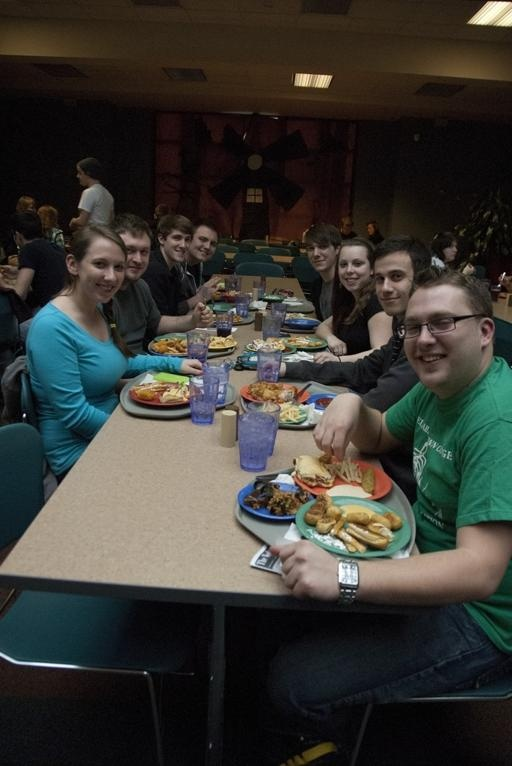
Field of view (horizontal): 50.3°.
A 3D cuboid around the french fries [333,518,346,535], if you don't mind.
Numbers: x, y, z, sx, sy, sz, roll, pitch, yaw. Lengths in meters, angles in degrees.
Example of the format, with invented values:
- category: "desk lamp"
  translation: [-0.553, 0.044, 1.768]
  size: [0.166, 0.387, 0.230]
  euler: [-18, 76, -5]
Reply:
- category: "french fries"
  translation: [0.144, 0.245, 0.929]
  size: [0.011, 0.009, 0.040]
  euler: [41, 34, -4]

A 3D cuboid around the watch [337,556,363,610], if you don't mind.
- category: "watch"
  translation: [0.122, 0.289, 0.782]
  size: [0.033, 0.051, 0.055]
  euler: [2, 33, 2]

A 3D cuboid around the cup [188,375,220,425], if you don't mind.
- category: "cup"
  translation: [-0.144, 0.049, 1.505]
  size: [0.084, 0.129, 0.086]
  euler: [3, 28, -1]

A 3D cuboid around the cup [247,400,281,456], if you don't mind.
- category: "cup"
  translation: [0.017, 0.105, 1.235]
  size: [0.099, 0.147, 0.097]
  euler: [1, 21, 0]

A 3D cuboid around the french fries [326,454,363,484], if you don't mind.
- category: "french fries"
  translation: [0.195, 0.186, 1.202]
  size: [0.049, 0.019, 0.060]
  euler: [3, 33, -16]

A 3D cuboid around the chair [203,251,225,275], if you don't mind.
- category: "chair"
  translation: [-0.462, -1.383, 6.318]
  size: [0.256, 0.415, 0.268]
  euler: [3, 17, -4]

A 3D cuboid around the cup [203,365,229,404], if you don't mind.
- category: "cup"
  translation: [-0.117, 0.004, 1.572]
  size: [0.086, 0.125, 0.082]
  euler: [2, 28, -1]

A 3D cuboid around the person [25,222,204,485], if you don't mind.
- category: "person"
  translation: [-0.467, -0.008, 1.916]
  size: [0.608, 0.964, 0.417]
  euler: [1, 13, -2]

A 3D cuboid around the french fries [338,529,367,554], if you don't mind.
- category: "french fries"
  translation: [0.157, 0.260, 0.890]
  size: [0.022, 0.010, 0.034]
  euler: [-22, 22, -27]

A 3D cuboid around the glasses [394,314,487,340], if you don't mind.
- category: "glasses"
  translation: [0.324, -0.108, 1.043]
  size: [0.098, 0.057, 0.201]
  euler: [3, 7, -19]

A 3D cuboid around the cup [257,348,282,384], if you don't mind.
- category: "cup"
  translation: [0.047, -0.053, 1.869]
  size: [0.081, 0.120, 0.077]
  euler: [2, 23, -1]

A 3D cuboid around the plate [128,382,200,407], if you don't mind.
- category: "plate"
  translation: [-0.273, 0.036, 1.664]
  size: [0.114, 0.013, 0.117]
  euler: [11, 17, 29]

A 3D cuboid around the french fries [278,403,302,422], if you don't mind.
- category: "french fries"
  translation: [0.102, 0.083, 1.557]
  size: [0.049, 0.017, 0.054]
  euler: [3, 18, 3]

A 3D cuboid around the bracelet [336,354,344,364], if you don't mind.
- category: "bracelet"
  translation: [0.373, -0.105, 2.390]
  size: [0.028, 0.031, 0.081]
  euler: [-4, -3, 15]

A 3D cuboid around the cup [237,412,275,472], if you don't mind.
- category: "cup"
  translation: [0.001, 0.129, 1.197]
  size: [0.105, 0.125, 0.086]
  euler: [3, 24, 3]
